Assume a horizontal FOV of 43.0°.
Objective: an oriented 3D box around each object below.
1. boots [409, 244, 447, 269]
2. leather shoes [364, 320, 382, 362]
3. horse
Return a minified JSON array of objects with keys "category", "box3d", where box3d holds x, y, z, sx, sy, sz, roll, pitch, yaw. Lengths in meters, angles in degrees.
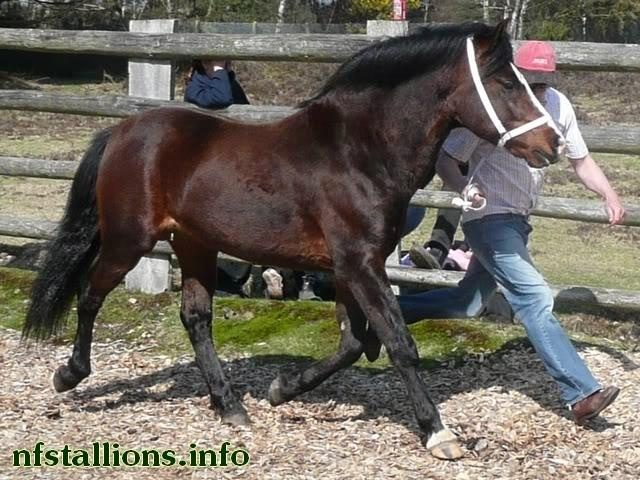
[{"category":"boots","box3d":[0.938,0.158,7.192,0.523,0.169,0.216,-1,6,2]},{"category":"leather shoes","box3d":[0.368,0.723,5.552,0.192,0.280,0.070,-4,31,4]},{"category":"horse","box3d":[-0.233,-0.071,5.439,3.726,2.503,0.837,1,1,22]}]
